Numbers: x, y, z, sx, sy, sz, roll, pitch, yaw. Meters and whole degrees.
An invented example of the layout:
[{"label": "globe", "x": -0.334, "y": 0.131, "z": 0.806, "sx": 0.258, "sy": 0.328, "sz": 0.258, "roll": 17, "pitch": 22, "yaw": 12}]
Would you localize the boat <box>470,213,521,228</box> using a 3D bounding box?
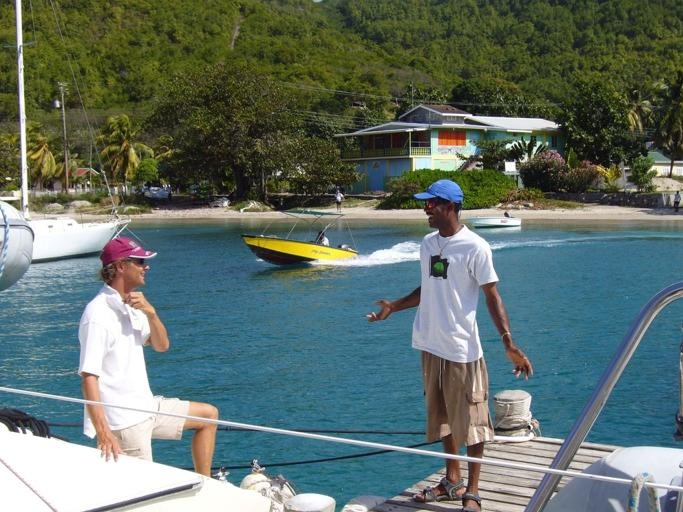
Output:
[{"label": "boat", "x": 13.087, "y": -2.880, "z": 98.279, "sx": 3.001, "sy": 1.104, "sz": 1.765, "roll": -1, "pitch": 5, "yaw": -2}]
